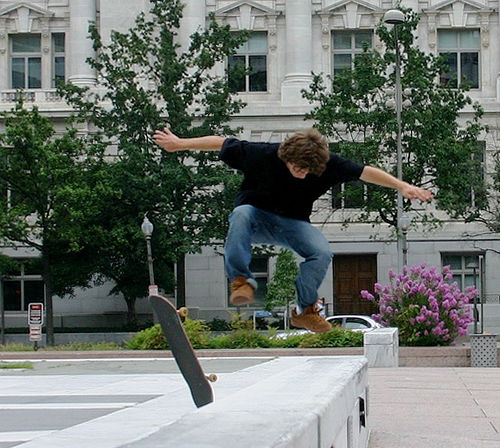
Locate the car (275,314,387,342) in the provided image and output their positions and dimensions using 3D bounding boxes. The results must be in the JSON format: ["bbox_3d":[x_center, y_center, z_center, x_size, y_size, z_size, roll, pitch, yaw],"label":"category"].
[{"bbox_3d":[2.792,3.425,45.236,2.877,0.802,1.211,2,-9,0],"label":"car"}]
